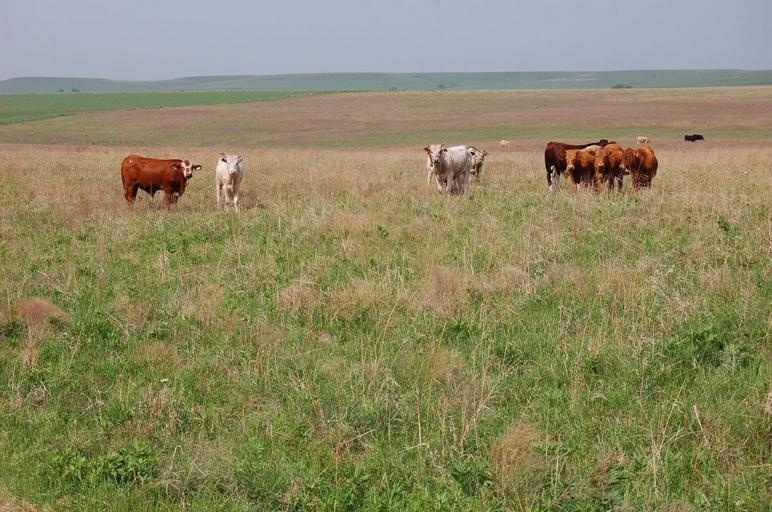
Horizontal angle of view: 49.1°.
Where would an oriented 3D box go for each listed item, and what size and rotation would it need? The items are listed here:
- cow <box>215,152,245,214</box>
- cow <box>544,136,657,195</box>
[{"bbox_3d":[-4.512,-2.127,24.139,0.745,1.551,3.258,-2,7,-12],"label":"cow"},{"bbox_3d":[6.917,-2.732,26.071,2.658,1.365,1.588,1,7,11],"label":"cow"}]
